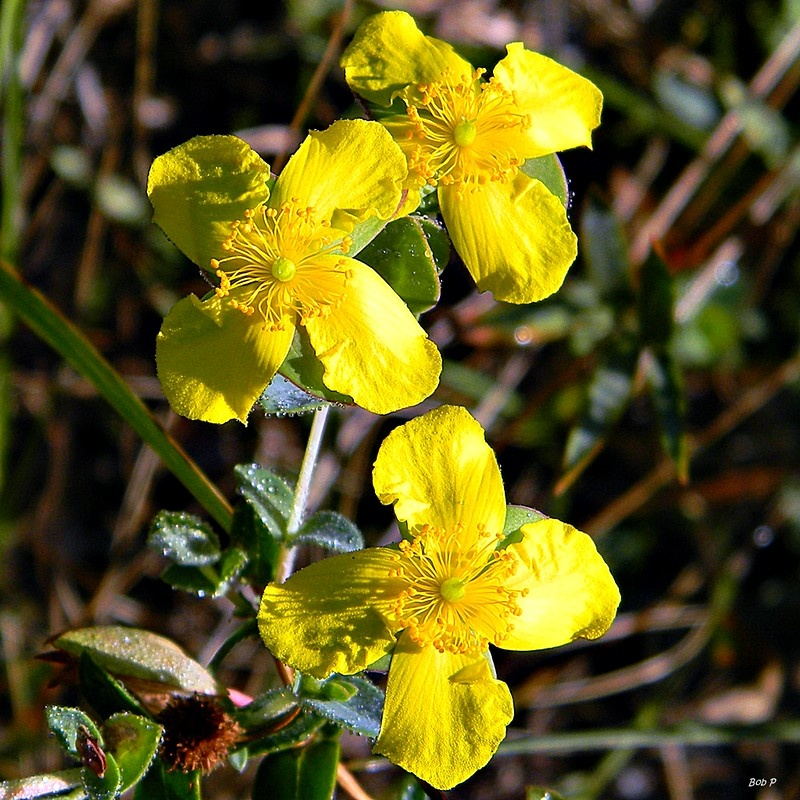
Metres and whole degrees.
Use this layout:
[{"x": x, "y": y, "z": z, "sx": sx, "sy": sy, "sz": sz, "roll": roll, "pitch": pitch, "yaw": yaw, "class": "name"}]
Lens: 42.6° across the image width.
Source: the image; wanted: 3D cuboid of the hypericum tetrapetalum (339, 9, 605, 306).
[{"x": 0.105, "y": -0.448, "z": 1.846, "sx": 0.452, "sy": 0.198, "sz": 0.460, "roll": 28, "pitch": 90, "yaw": -17, "class": "hypericum tetrapetalum"}]

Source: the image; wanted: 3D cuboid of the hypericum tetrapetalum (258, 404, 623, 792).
[{"x": 0.067, "y": 0.314, "z": 1.594, "sx": 0.452, "sy": 0.275, "sz": 0.452, "roll": 43, "pitch": 54, "yaw": 10, "class": "hypericum tetrapetalum"}]

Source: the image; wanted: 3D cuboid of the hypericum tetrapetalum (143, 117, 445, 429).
[{"x": -0.230, "y": -0.205, "z": 1.727, "sx": 0.130, "sy": 0.429, "sz": 0.422, "roll": -23, "pitch": 90, "yaw": 7, "class": "hypericum tetrapetalum"}]
